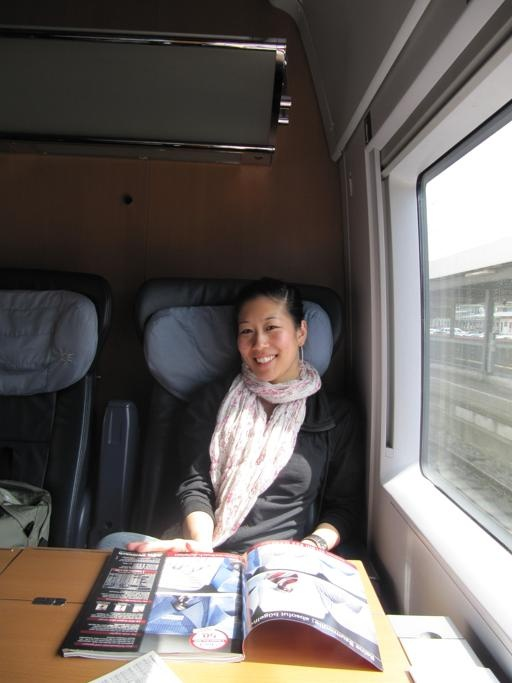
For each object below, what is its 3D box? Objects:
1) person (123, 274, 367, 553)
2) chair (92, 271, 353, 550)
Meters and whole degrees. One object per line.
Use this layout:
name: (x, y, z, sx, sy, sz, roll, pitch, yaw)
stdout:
person: (0.002, 0.274, 1.435, 0.601, 0.920, 0.451, 5, -5, -15)
chair: (-0.136, 0.233, 1.737, 0.629, 1.066, 0.751, 2, -13, 13)
